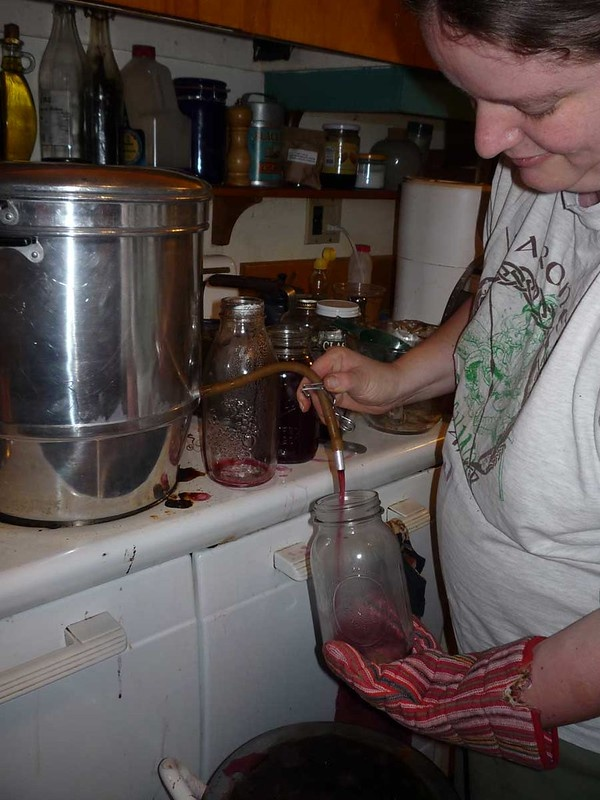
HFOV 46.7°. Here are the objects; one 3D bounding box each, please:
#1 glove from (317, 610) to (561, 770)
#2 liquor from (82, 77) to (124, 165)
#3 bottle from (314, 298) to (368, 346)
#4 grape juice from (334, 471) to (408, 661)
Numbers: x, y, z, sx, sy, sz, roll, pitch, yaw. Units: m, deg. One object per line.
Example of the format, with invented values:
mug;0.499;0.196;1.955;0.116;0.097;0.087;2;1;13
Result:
glove;0.134;0.268;0.704;0.215;0.085;0.155;-9;-22;38
liquor;-0.354;-0.508;1.265;0.061;0.153;0.150;-1;16;-6
bottle;0.064;-0.121;1.117;0.088;0.084;0.084;-3;18;-10
grape juice;0.068;0.204;0.788;0.101;0.194;0.094;-8;0;0
